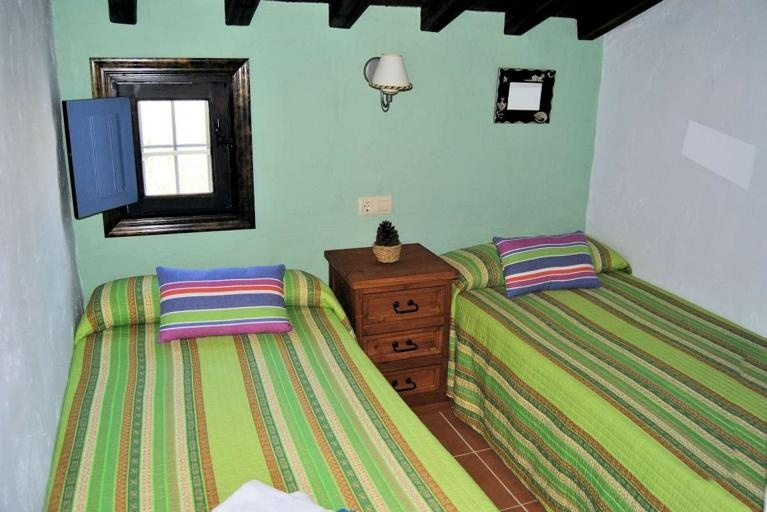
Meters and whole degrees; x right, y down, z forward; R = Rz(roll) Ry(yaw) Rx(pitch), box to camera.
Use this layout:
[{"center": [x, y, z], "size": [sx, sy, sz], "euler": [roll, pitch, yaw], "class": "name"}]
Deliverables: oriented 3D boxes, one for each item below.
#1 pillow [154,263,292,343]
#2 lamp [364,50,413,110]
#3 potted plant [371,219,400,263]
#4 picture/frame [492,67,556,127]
[{"center": [-0.971, 0.403, 3.060], "size": [0.660, 0.182, 0.412], "euler": [-3, 58, -18], "class": "pillow"}, {"center": [0.019, -1.072, 3.212], "size": [0.281, 0.344, 0.276], "euler": [-1, 15, -3], "class": "lamp"}, {"center": [0.051, -0.104, 3.250], "size": [0.199, 0.252, 0.203], "euler": [9, 24, 43], "class": "potted plant"}, {"center": [0.958, -1.107, 3.551], "size": [0.392, 0.338, 0.028], "euler": [-3, 15, -17], "class": "picture/frame"}]
